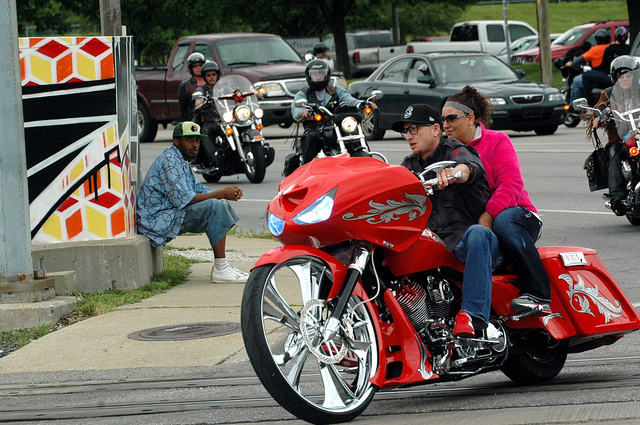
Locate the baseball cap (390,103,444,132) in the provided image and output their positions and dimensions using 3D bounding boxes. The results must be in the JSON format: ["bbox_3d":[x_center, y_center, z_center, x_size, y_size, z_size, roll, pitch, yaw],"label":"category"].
[{"bbox_3d":[0.788,-0.776,6.600,0.404,0.205,0.260,-4,-4,-40],"label":"baseball cap"}]

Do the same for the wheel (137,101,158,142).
[{"bbox_3d":[-5.413,-2.743,25.114,0.416,1.221,1.179,-10,12,-40],"label":"wheel"}]

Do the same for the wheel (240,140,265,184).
[{"bbox_3d":[-1.319,-1.039,16.311,0.261,0.814,0.831,-3,-5,-25],"label":"wheel"}]

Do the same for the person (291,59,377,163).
[{"bbox_3d":[-0.019,-1.827,14.342,1.163,1.167,1.874,-3,9,-19],"label":"person"}]

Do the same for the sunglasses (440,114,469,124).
[{"bbox_3d":[1.132,-0.792,6.899,0.133,0.045,0.129,-6,3,-38],"label":"sunglasses"}]

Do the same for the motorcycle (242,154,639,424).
[{"bbox_3d":[0.776,0.546,6.616,3.167,1.672,1.599,1,-6,-33],"label":"motorcycle"}]

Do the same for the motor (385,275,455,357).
[{"bbox_3d":[0.755,0.784,6.418,0.577,0.572,0.279,-31,0,-26],"label":"motor"}]

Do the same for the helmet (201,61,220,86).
[{"bbox_3d":[-2.107,-2.702,15.808,0.315,0.423,0.419,-2,-1,-5],"label":"helmet"}]

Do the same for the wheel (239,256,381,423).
[{"bbox_3d":[-0.058,0.916,5.831,0.973,1.242,0.608,-3,12,-7],"label":"wheel"}]

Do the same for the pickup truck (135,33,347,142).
[{"bbox_3d":[-3.150,-3.969,24.672,7.200,3.064,3.628,6,20,42],"label":"pickup truck"}]

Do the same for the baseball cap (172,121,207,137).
[{"bbox_3d":[-1.568,-0.983,9.654,0.314,0.175,0.371,-3,13,-10],"label":"baseball cap"}]

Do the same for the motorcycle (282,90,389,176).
[{"bbox_3d":[0.359,-1.325,13.444,1.007,1.622,1.673,-4,7,-21],"label":"motorcycle"}]

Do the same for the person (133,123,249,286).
[{"bbox_3d":[-1.550,-0.076,9.568,1.265,1.896,0.509,-3,12,-7],"label":"person"}]

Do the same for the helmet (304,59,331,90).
[{"bbox_3d":[-0.021,-2.340,13.735,0.450,0.485,0.558,-1,24,7],"label":"helmet"}]
